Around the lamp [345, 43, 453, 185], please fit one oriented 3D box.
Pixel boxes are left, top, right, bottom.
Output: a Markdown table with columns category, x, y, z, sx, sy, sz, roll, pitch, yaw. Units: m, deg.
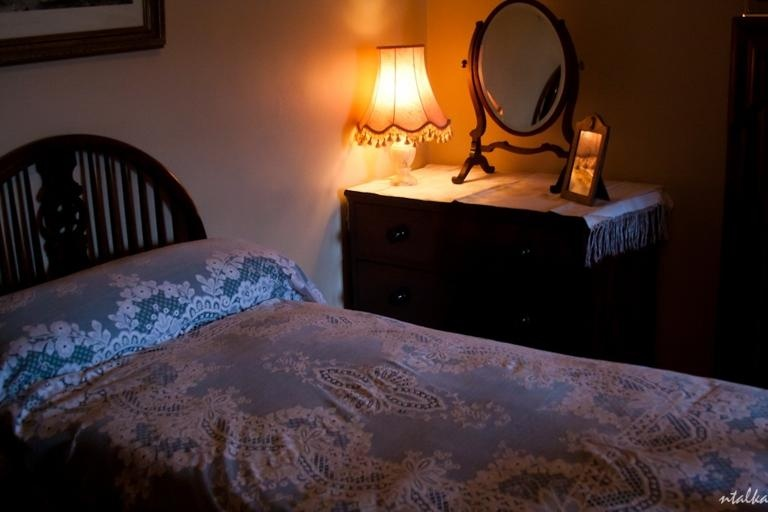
| category | x | y | z | sx | sy | sz | roll | pitch | yaw |
| --- | --- | --- | --- | --- | --- | --- | --- | --- | --- |
| lamp | 0.068 | -0.689 | 2.628 | 0.526 | 0.731 | 0.560 | -5 | 20 | -5 |

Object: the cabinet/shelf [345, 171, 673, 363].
| category | x | y | z | sx | sy | sz | roll | pitch | yaw |
| --- | --- | --- | --- | --- | --- | --- | --- | --- | --- |
| cabinet/shelf | 0.494 | -0.272 | 2.355 | 1.234 | 1.116 | 0.768 | 7 | 14 | 34 |
